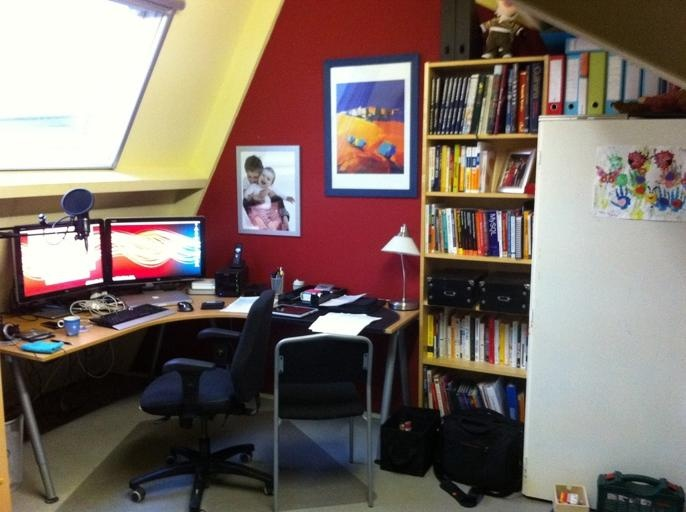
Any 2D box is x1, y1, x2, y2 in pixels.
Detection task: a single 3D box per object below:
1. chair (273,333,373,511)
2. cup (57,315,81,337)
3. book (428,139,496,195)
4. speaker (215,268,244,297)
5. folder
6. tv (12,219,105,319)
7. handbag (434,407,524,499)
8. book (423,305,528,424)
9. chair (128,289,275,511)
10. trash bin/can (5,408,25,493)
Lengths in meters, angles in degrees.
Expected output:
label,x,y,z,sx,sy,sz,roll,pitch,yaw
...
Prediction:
label,x,y,z,sx,sy,sz,roll,pitch,yaw
chair,-0.104,0.832,3.378,0.586,1.003,0.859,1,9,2
cup,-1.593,0.402,3.321,0.108,0.119,0.159,-1,1,-29
book,0.768,-0.539,3.714,0.507,0.386,0.292,3,8,24
speaker,-0.822,0.192,4.203,0.187,0.180,0.208,0,1,8
folder,1.446,-0.995,3.083,0.522,0.429,0.064,5,10,25
tv,-1.821,0.086,3.606,0.168,0.509,0.582,2,6,32
handbag,0.770,1.112,3.359,0.453,0.467,0.410,5,9,35
book,0.843,0.698,3.641,0.698,0.690,0.238,3,3,20
chair,-0.787,0.768,3.229,0.790,1.161,0.621,0,9,-2
trash bin/can,-1.844,1.110,3.233,0.082,0.420,0.169,-5,10,-30
